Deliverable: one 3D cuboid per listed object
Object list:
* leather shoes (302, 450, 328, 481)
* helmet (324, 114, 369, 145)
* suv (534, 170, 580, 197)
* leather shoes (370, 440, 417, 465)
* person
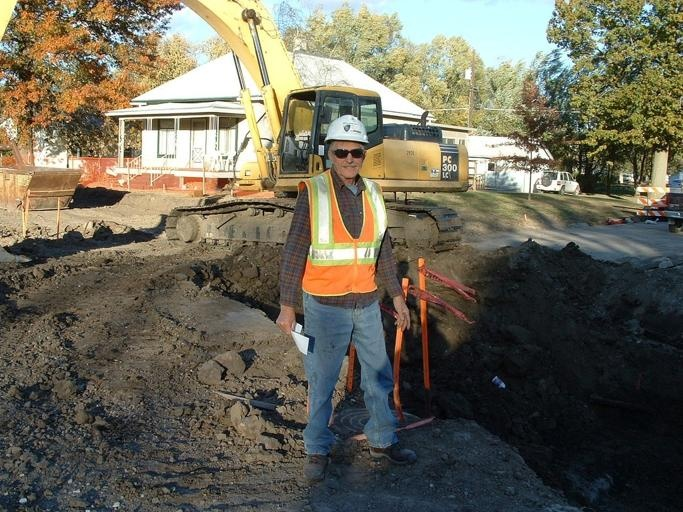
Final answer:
[{"bbox_3d":[-0.200,1.604,3.800,0.163,0.164,0.280,7,14,11],"label":"leather shoes"},{"bbox_3d":[0.041,-0.973,3.770,0.294,0.214,0.233,3,14,-4],"label":"helmet"},{"bbox_3d":[14.637,-4.968,32.942,2.939,1.402,1.671,-13,17,-37],"label":"suv"},{"bbox_3d":[0.421,1.587,3.936,0.355,0.160,0.157,-1,3,14],"label":"leather shoes"},{"bbox_3d":[0.007,0.319,3.796,0.994,2.718,0.743,2,14,-9],"label":"person"}]
